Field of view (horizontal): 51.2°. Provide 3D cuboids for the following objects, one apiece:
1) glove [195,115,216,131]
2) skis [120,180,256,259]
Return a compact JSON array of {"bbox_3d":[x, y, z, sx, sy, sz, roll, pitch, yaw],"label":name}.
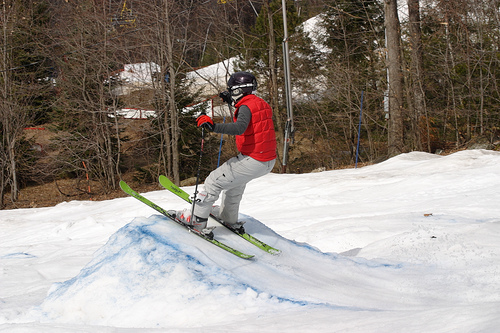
[{"bbox_3d":[-0.989,-0.986,11.692,0.413,0.363,0.351,-5,5,-8],"label":"glove"},{"bbox_3d":[-1.460,1.334,12.677,2.964,0.250,0.291,30,22,-3],"label":"skis"}]
